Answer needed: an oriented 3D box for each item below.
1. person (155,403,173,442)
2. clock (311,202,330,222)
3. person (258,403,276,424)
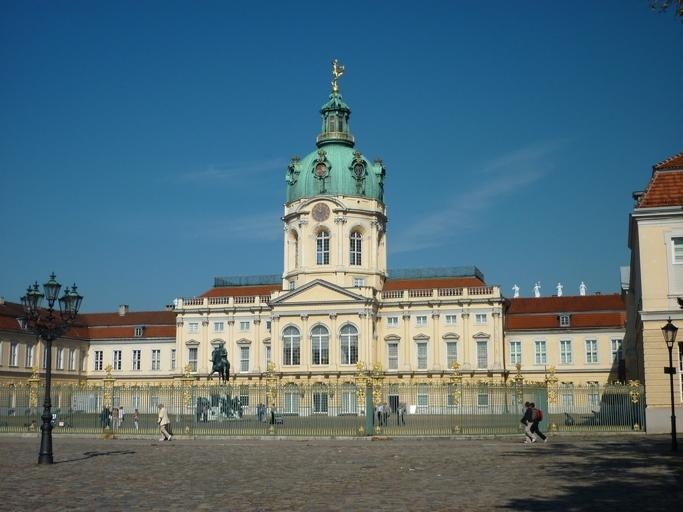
[{"bbox_3d":[-8.684,8.116,50.046,0.596,1.790,1.163,1,-12,-10],"label":"person"},{"bbox_3d":[-1.863,-3.980,93.560,1.781,1.744,0.208,1,-5,9],"label":"clock"},{"bbox_3d":[-3.883,8.247,53.335,1.091,1.051,0.601,0,-3,15],"label":"person"}]
